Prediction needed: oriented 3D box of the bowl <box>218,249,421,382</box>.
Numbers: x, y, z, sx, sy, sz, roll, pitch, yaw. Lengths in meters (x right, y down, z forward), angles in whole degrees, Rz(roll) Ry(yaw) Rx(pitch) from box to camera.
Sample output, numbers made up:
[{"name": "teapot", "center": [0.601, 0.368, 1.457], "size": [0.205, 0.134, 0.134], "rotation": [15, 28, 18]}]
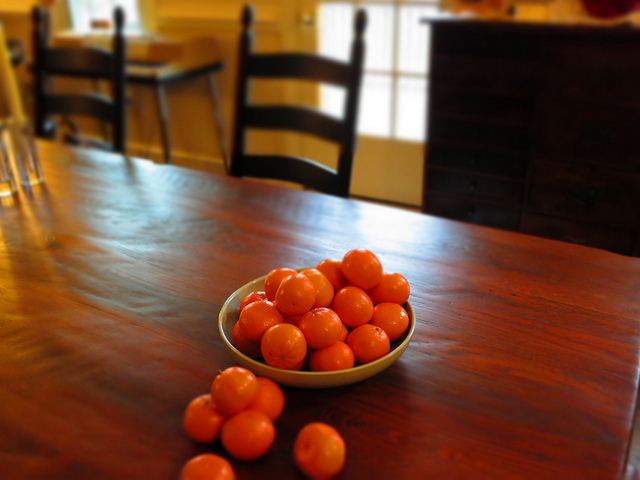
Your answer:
[{"name": "bowl", "center": [-0.006, 0.050, 0.778], "size": [0.213, 0.118, 0.219], "rotation": [-4, 14, 1]}]

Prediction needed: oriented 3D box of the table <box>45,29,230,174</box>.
[{"name": "table", "center": [-0.844, -0.673, 2.509], "size": [0.766, 0.758, 0.619], "rotation": [15, 25, 22]}]

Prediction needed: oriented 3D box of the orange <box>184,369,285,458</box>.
[{"name": "orange", "center": [-0.106, 0.188, 0.634], "size": [0.107, 0.058, 0.104], "rotation": [-10, 25, -42]}]

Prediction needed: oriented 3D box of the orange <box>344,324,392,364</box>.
[{"name": "orange", "center": [0.071, 0.149, 0.731], "size": [0.071, 0.045, 0.050], "rotation": [2, 24, 2]}]

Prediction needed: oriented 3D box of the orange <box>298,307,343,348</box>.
[{"name": "orange", "center": [0.000, 0.112, 0.734], "size": [0.051, 0.052, 0.051], "rotation": [-27, 19, -20]}]

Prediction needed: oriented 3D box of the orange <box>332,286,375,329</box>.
[{"name": "orange", "center": [0.048, 0.102, 0.803], "size": [0.054, 0.057, 0.068], "rotation": [15, 52, -32]}]

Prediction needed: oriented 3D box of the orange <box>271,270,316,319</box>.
[{"name": "orange", "center": [-0.038, 0.084, 0.748], "size": [0.062, 0.074, 0.061], "rotation": [3, -6, -31]}]

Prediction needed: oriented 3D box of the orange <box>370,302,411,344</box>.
[{"name": "orange", "center": [0.111, 0.121, 0.775], "size": [0.062, 0.047, 0.061], "rotation": [-14, 21, -24]}]

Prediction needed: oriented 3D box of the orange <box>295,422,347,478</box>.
[{"name": "orange", "center": [0.002, 0.249, 0.597], "size": [0.054, 0.062, 0.059], "rotation": [23, -25, -34]}]
